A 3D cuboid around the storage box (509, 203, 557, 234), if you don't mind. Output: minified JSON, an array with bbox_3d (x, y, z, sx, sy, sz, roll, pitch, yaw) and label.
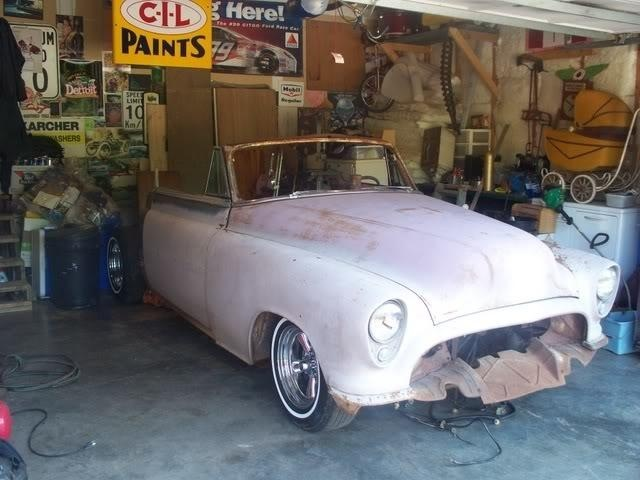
[{"bbox_3d":[2.333,-0.229,5.304,0.222,0.224,0.361,-4,12,-23],"label":"storage box"}]

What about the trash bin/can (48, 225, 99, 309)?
[{"bbox_3d":[-2.711,0.316,5.383,0.587,0.820,0.361,-3,14,-13],"label":"trash bin/can"}]

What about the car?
[{"bbox_3d":[-0.041,-0.013,3.734,1.900,1.333,3.159,-6,16,-35],"label":"car"}]
